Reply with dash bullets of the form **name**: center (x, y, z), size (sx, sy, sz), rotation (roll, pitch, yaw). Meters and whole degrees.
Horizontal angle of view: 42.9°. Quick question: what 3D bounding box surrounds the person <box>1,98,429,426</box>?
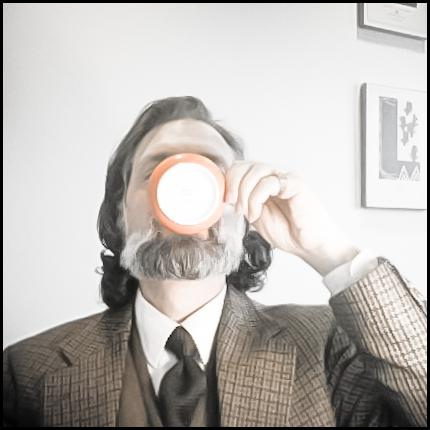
- **person**: center (-0.052, 0.156, 1.486), size (0.651, 0.309, 1.049), rotation (2, 66, -6)

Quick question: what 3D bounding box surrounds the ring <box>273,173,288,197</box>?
- **ring**: center (0.175, -0.080, 1.470), size (0.037, 0.017, 0.057), rotation (-157, 74, -75)
